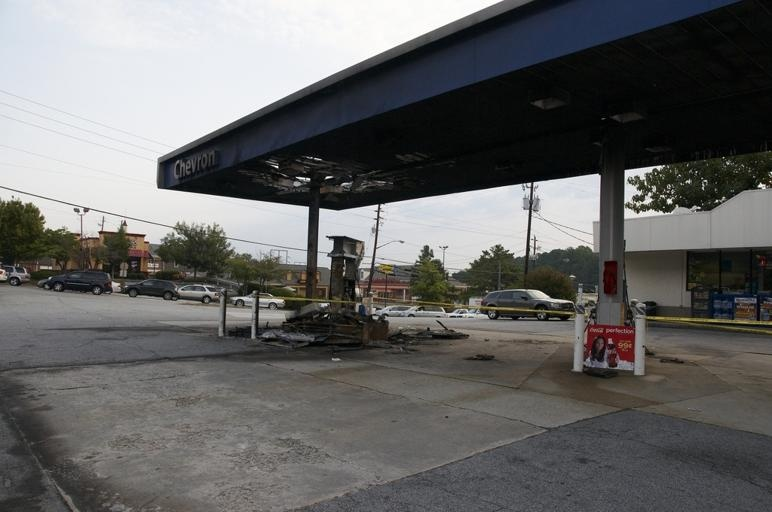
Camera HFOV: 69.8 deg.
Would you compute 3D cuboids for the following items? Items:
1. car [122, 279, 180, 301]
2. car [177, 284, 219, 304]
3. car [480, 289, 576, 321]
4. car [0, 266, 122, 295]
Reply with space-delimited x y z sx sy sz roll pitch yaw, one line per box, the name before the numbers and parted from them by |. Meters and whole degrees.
car | -16.729 2.443 39.446 3.652 1.295 0.950 1 9 7
car | -13.609 2.800 40.032 2.246 0.736 1.065 6 -4 2
car | 7.299 2.665 28.624 1.846 1.789 4.525 -6 10 -38
car | -25.987 1.990 44.400 8.319 1.199 1.432 7 -7 -8
